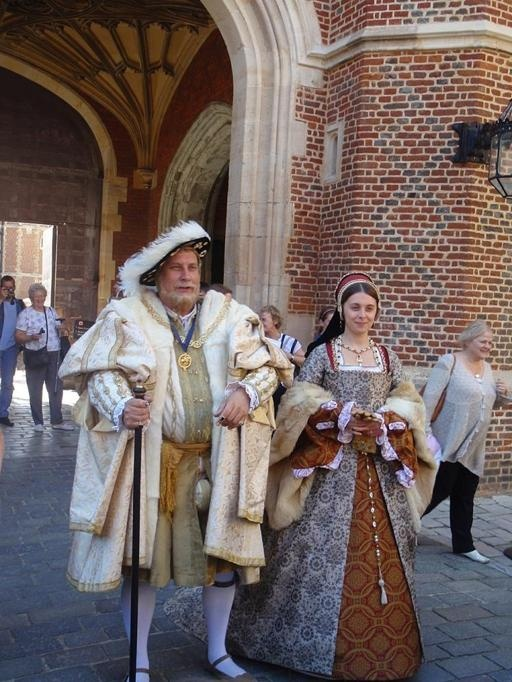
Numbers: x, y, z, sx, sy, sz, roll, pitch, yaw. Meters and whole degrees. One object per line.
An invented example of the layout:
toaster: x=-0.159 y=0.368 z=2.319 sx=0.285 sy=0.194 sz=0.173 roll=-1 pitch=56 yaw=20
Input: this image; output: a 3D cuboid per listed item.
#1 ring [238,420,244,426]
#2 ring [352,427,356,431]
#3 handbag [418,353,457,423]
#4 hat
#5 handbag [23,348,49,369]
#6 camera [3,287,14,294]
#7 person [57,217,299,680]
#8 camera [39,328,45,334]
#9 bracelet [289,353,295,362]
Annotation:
ring: x=-0.054 y=0.297 z=2.356 sx=0.022 sy=0.010 sz=0.026 roll=-8 pitch=-13 yaw=-19
ring: x=0.395 y=0.355 z=2.651 sx=0.015 sy=0.013 sz=0.015 roll=2 pitch=3 yaw=0
handbag: x=1.177 y=0.302 z=4.283 sx=0.115 sy=0.413 sz=0.243 roll=24 pitch=3 yaw=-9
hat: x=-0.342 y=-0.344 z=2.424 sx=0.339 sy=0.109 sz=0.261 roll=-22 pitch=-20 yaw=-20
handbag: x=-2.699 y=0.219 z=7.974 sx=0.433 sy=0.279 sz=0.229 roll=0 pitch=-6 yaw=-35
camera: x=-3.250 y=-0.656 z=8.585 sx=0.108 sy=0.111 sz=0.090 roll=-6 pitch=46 yaw=-12
person: x=-0.299 y=0.216 z=2.409 sx=0.618 sy=1.515 sz=0.671 roll=4 pitch=0 yaw=34
camera: x=-2.591 y=-0.122 z=7.941 sx=0.070 sy=0.061 sz=0.050 roll=2 pitch=4 yaw=-2
bracelet: x=0.278 y=0.129 z=5.034 sx=0.044 sy=0.055 sz=0.062 roll=7 pitch=9 yaw=0
